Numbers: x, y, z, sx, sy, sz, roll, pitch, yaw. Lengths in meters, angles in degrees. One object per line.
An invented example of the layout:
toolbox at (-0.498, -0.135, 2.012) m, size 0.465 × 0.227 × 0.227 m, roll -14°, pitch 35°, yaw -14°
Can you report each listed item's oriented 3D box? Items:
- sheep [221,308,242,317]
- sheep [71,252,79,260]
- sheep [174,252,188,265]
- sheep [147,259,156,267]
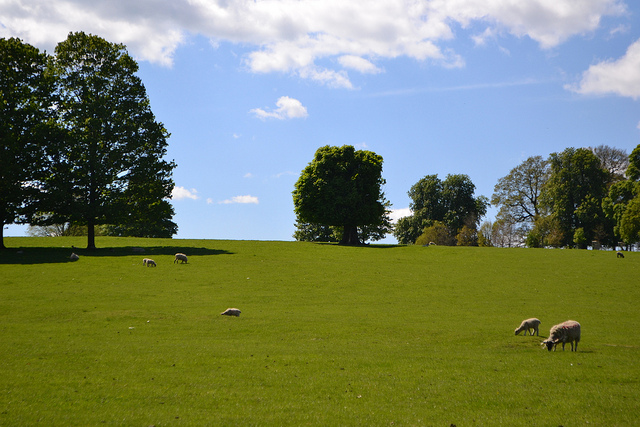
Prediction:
sheep at (-9.874, 11.119, 79.880) m, size 2.015 × 0.831 × 0.828 m, roll 4°, pitch -4°, yaw -8°
sheep at (-32.957, 5.873, 96.367) m, size 0.724 × 0.344 × 0.894 m, roll 7°, pitch -16°, yaw 5°
sheep at (-18.949, 6.243, 97.587) m, size 1.814 × 1.391 × 2.041 m, roll 4°, pitch -4°, yaw -10°
sheep at (-22.400, 6.598, 94.790) m, size 1.197 × 0.925 × 0.533 m, roll 2°, pitch -4°, yaw 23°
